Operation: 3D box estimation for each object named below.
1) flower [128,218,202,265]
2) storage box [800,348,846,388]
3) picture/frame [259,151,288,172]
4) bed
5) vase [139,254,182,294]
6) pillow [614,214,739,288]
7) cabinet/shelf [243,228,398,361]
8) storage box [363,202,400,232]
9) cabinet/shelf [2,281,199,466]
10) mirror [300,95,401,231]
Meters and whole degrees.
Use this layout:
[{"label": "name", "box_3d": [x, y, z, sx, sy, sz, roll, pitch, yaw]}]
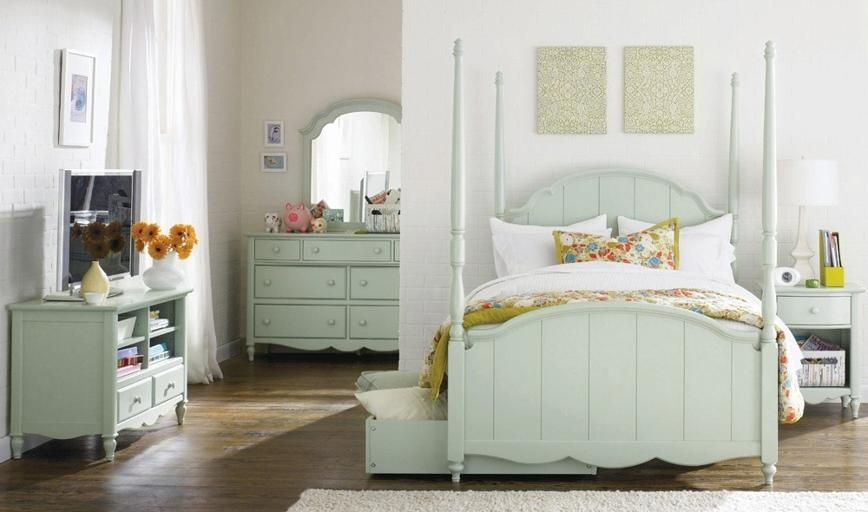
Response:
[{"label": "flower", "box_3d": [-2.078, -0.057, 5.570, 0.444, 0.304, 0.515, 5, -14, 31]}, {"label": "storage box", "box_3d": [3.093, 0.915, 5.863, 0.198, 0.222, 0.353, 6, -13, -42]}, {"label": "picture/frame", "box_3d": [-1.651, -0.985, 7.546, 0.250, 0.167, 0.010, 2, 0, 0]}, {"label": "bed", "box_3d": [0.831, 0.453, 5.839, 2.696, 2.209, 2.481, 1, -8, 0]}, {"label": "vase", "box_3d": [-2.017, 0.139, 5.472, 0.313, 0.253, 0.288, 0, 0, 1]}, {"label": "pillow", "box_3d": [1.852, -0.026, 5.643, 0.662, 0.364, 0.163, 1, -10, 1]}, {"label": "cabinet/shelf", "box_3d": [-1.085, 0.346, 7.117, 1.541, 1.018, 0.559, 0, 0, 2]}, {"label": "storage box", "box_3d": [-0.513, -0.377, 7.345, 0.522, 0.310, 0.265, 0, -5, 2]}, {"label": "cabinet/shelf", "box_3d": [-2.334, 0.824, 5.147, 1.218, 1.051, 0.656, -6, 14, -25]}, {"label": "mirror", "box_3d": [-0.818, -0.921, 7.455, 1.667, 1.415, 0.075, 0, 0, -1]}]
